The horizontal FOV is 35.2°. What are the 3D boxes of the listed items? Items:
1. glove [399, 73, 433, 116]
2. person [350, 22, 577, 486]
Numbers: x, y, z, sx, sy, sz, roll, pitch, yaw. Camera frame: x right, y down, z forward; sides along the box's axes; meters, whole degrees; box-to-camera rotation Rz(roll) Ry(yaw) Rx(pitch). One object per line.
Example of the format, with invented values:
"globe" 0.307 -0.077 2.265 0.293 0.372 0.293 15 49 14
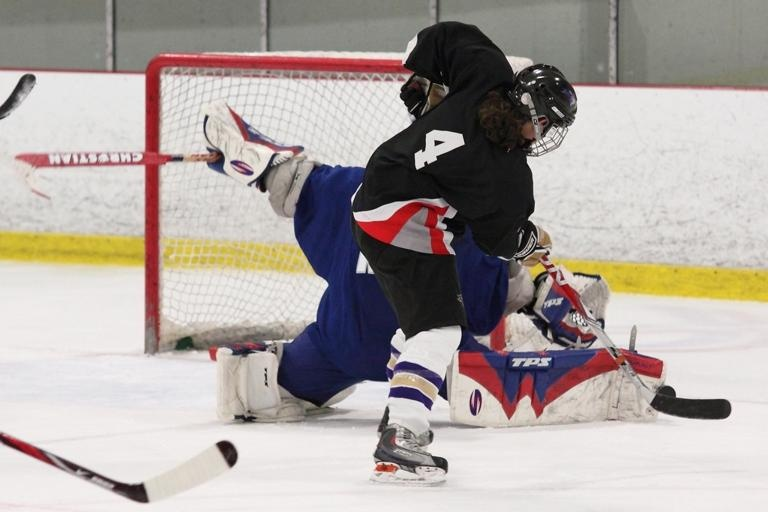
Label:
"glove" 0.158 -0.794 5.991 0.154 0.202 0.082 30 15 20
"person" 0.251 -0.059 5.786 0.704 2.089 1.008 13 16 43
